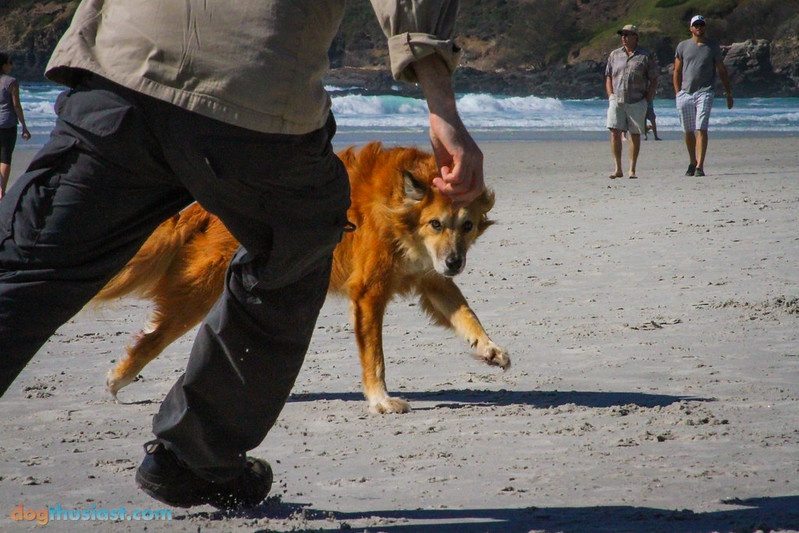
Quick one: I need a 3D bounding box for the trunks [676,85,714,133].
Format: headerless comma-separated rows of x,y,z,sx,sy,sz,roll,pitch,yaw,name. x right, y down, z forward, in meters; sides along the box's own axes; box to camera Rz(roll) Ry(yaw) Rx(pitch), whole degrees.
4.263,-2.183,15.859,0.358,0.638,0.789,-5,13,-9,trunks

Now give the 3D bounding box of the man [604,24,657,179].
3.331,-2.354,15.930,0.869,2.082,0.597,-1,6,8,man

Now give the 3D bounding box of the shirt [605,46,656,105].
3.303,-2.702,15.829,0.697,0.776,0.456,1,13,16,shirt

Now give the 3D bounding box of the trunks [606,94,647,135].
3.287,-2.194,15.941,0.594,0.503,0.340,8,13,18,trunks

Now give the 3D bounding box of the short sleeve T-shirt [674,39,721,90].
4.306,-2.837,15.850,0.534,0.748,0.695,-3,12,-1,short sleeve T-shirt

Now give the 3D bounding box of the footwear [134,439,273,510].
-1.119,1.196,6.579,0.897,0.384,0.359,12,3,-41,footwear
